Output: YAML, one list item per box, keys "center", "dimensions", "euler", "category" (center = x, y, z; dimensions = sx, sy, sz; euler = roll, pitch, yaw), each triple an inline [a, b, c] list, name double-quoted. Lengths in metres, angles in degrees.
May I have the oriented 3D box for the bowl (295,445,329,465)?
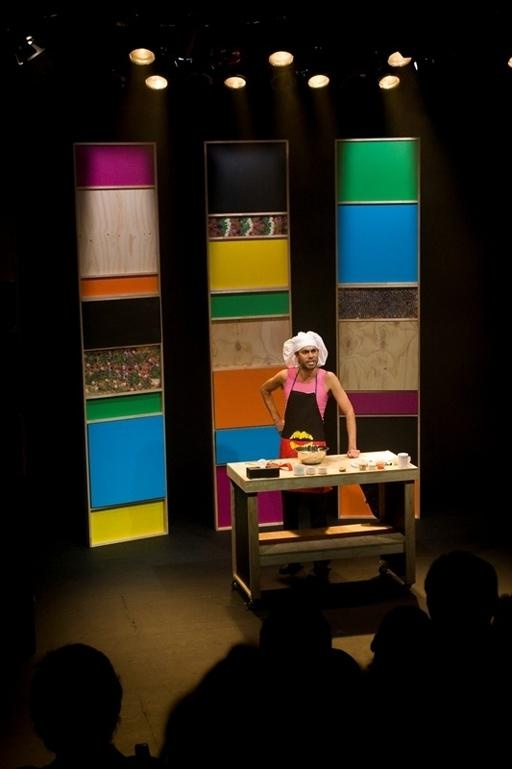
- center: [0.352, 0.458, 3.801]
  dimensions: [0.179, 0.115, 0.160]
  euler: [-2, 4, 4]
  category: "bowl"

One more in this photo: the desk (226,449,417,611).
- center: [0.452, 0.911, 3.943]
  dimensions: [1.095, 0.921, 0.632]
  euler: [-3, 5, -11]
  category: "desk"

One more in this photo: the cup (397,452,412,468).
- center: [0.943, 0.488, 3.872]
  dimensions: [0.075, 0.134, 0.126]
  euler: [0, -3, 2]
  category: "cup"

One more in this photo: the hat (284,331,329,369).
- center: [0.358, -0.261, 4.232]
  dimensions: [0.301, 0.334, 0.233]
  euler: [-1, -1, -4]
  category: "hat"

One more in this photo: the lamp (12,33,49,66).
- center: [-1.373, -1.991, 3.602]
  dimensions: [0.223, 0.107, 0.111]
  euler: [0, 4, 27]
  category: "lamp"
